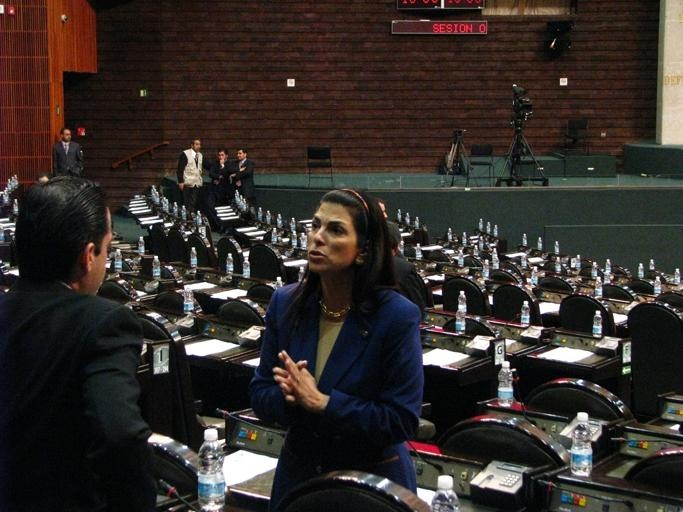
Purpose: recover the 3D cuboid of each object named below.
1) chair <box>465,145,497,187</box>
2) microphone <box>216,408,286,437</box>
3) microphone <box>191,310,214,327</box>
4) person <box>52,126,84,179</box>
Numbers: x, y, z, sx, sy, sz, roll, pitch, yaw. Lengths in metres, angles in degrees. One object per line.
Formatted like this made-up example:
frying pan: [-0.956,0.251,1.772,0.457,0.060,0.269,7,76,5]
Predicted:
chair: [3.785,-2.306,15.975,0.864,1.329,0.929,-2,26,16]
microphone: [-0.467,0.842,2.898,0.204,0.088,0.232,0,-2,43]
microphone: [-1.103,0.462,4.698,0.189,0.124,0.103,5,6,44]
person: [-6.649,-2.529,14.214,0.630,1.098,0.693,3,5,-28]
